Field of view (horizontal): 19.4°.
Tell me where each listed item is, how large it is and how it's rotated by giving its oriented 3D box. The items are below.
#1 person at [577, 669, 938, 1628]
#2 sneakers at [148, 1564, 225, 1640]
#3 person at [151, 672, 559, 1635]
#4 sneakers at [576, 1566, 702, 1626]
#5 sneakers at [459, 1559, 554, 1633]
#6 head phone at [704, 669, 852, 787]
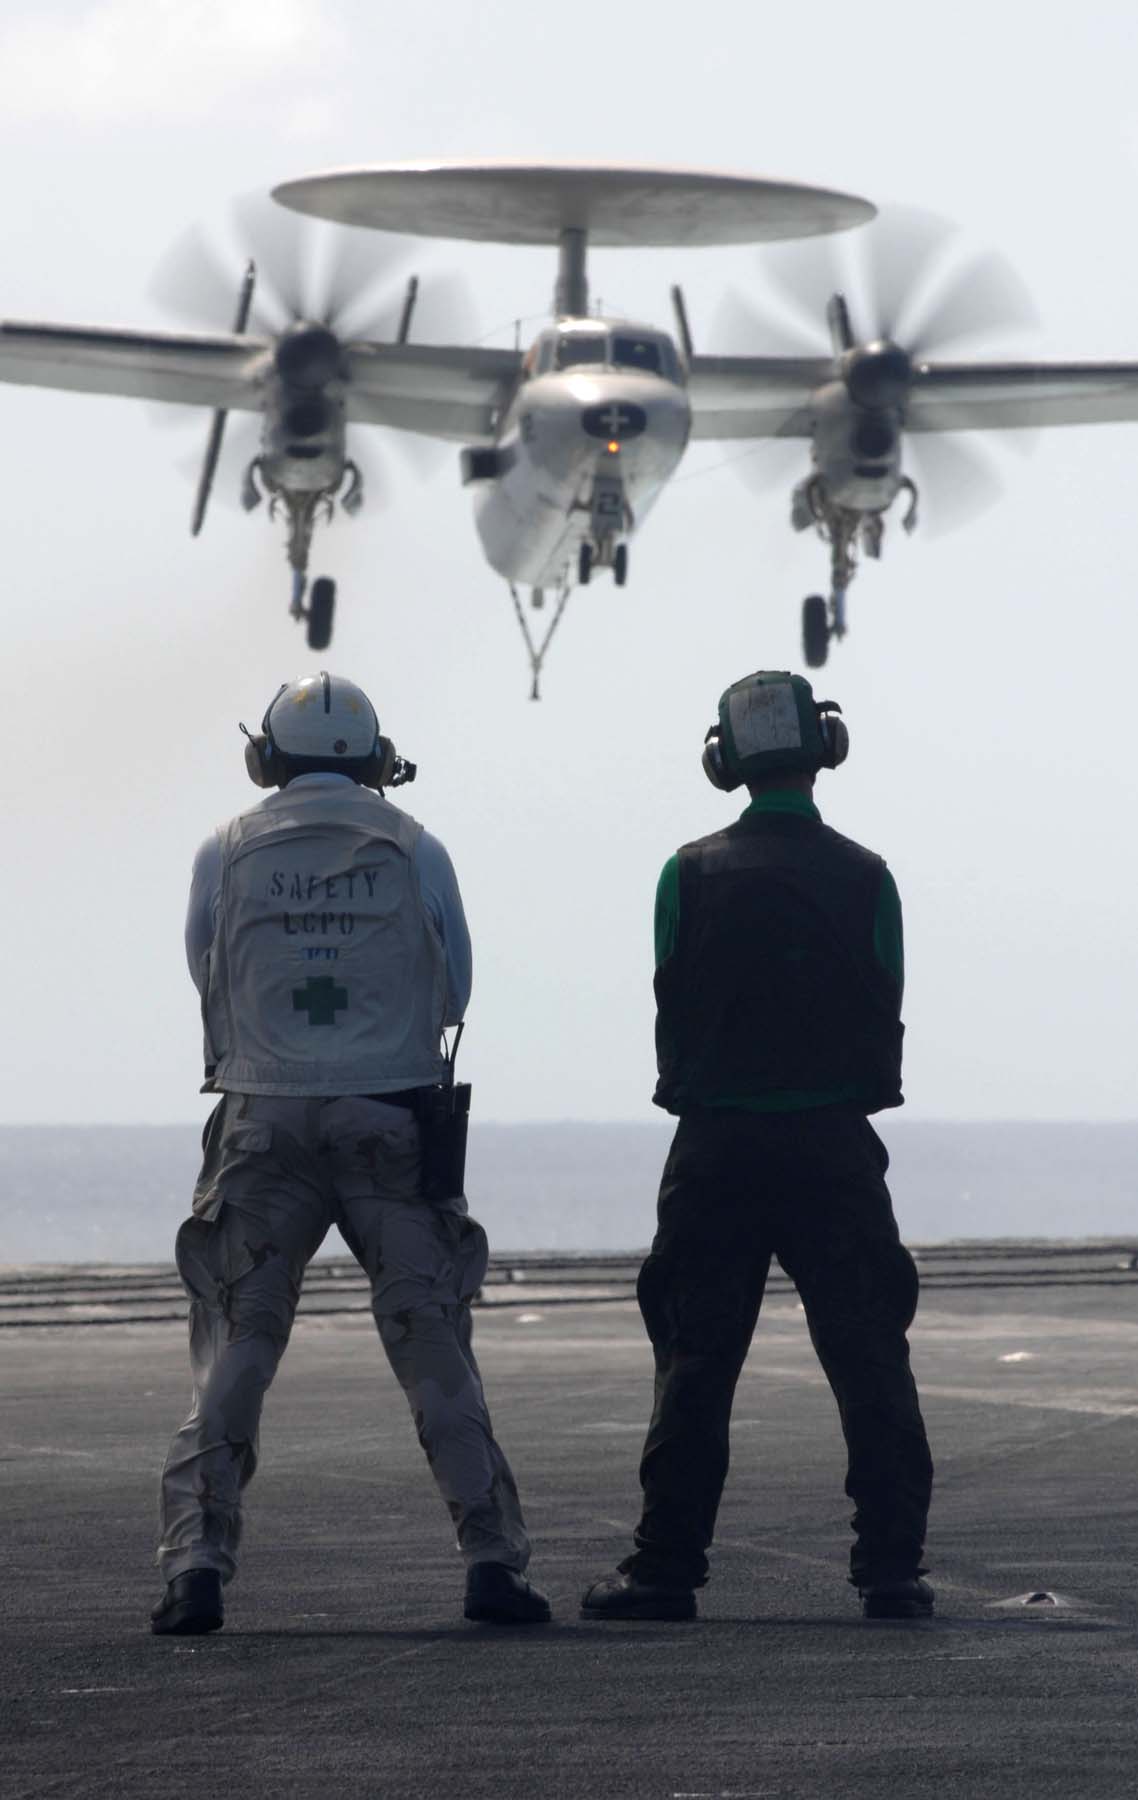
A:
[{"bbox_3d":[0.395,0.433,6.330,0.685,1.765,0.669,0,-3,15],"label":"person"},{"bbox_3d":[-0.665,1.237,5.860,0.094,0.096,0.206,2,-4,-8],"label":"sneakers"},{"bbox_3d":[-0.399,0.428,6.302,0.710,1.758,0.732,1,-3,2],"label":"person"},{"bbox_3d":[0.129,1.278,6.095,0.192,0.103,0.083,4,-13,1],"label":"sneakers"},{"bbox_3d":[-0.113,1.248,5.969,0.072,0.080,0.194,-2,-8,23],"label":"sneakers"},{"bbox_3d":[0.414,-0.332,6.715,0.307,0.249,0.290,-10,-11,3],"label":"head phone"}]
